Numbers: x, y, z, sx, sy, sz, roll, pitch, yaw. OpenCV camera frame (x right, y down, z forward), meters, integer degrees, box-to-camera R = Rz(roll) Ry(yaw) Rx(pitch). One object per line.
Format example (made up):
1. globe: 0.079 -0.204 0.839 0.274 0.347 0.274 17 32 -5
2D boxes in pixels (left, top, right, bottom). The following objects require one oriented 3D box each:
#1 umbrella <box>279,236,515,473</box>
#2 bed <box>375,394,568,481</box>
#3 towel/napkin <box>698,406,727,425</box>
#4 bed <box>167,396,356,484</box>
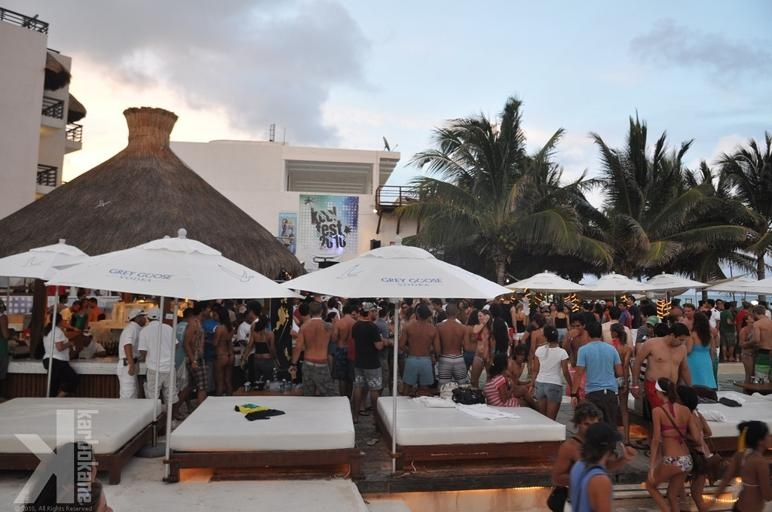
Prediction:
1. umbrella: 0.413 1.532 13.017 3.804 3.612 4.050 -1 -2 15
2. bed: 1.348 3.698 13.555 3.397 0.809 3.269 4 -10 -17
3. towel/napkin: 6.058 2.988 12.635 0.512 0.180 0.530 3 13 0
4. bed: -2.149 3.399 12.322 3.208 1.058 1.460 1 1 -3
